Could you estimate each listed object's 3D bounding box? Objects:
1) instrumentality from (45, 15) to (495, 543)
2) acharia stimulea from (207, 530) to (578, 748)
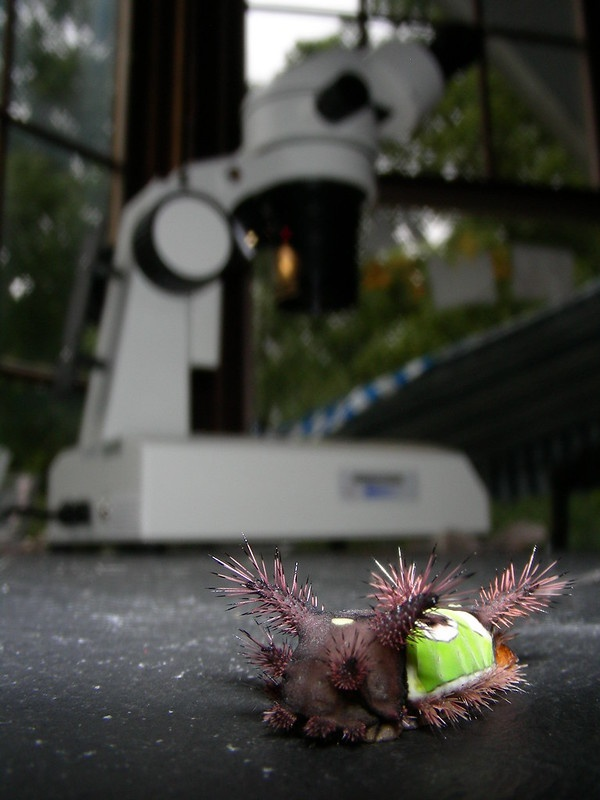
[{"bbox_3d":[-0.093,-0.109,1.413,0.888,1.025,0.598,0,-1,-22],"label":"instrumentality"},{"bbox_3d":[0.047,0.080,0.345,0.129,0.063,0.112,-3,-3,-32],"label":"acharia stimulea"}]
